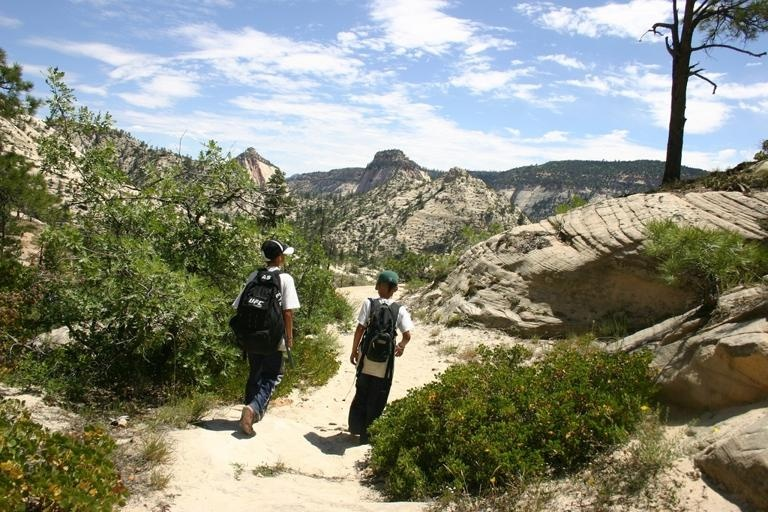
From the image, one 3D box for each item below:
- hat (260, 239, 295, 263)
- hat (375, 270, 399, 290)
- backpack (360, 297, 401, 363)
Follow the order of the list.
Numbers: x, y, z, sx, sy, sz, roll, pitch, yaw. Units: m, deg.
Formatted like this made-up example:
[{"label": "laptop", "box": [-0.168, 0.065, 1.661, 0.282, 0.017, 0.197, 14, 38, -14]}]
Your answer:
[{"label": "hat", "box": [-1.669, -0.120, 8.885, 0.550, 0.281, 0.353, -24, 33, -38]}, {"label": "hat", "box": [0.048, 0.347, 8.825, 0.304, 0.298, 0.412, 9, 11, 3]}, {"label": "backpack", "box": [-0.083, 1.150, 8.617, 0.488, 0.879, 0.364, 9, 12, -2]}]
